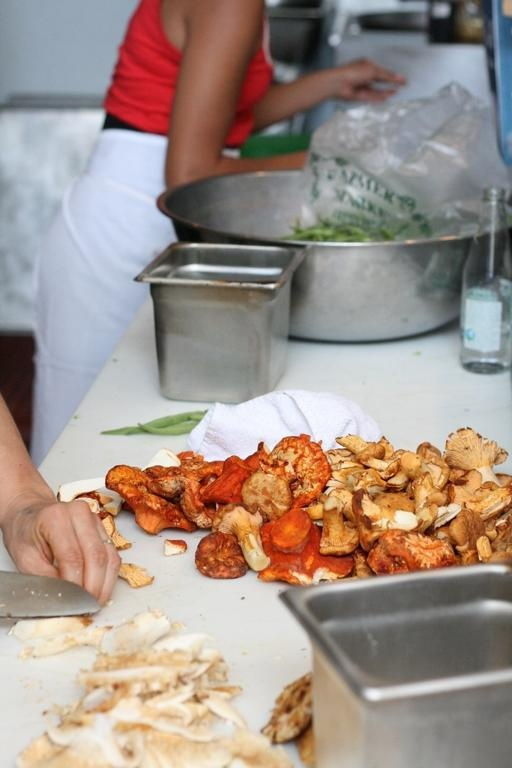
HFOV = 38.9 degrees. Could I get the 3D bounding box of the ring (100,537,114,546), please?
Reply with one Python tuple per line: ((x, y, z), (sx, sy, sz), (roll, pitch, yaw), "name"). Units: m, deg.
((-0.139, 0.147, 0.681), (0.011, 0.003, 0.011), (10, 12, -2), "ring")
